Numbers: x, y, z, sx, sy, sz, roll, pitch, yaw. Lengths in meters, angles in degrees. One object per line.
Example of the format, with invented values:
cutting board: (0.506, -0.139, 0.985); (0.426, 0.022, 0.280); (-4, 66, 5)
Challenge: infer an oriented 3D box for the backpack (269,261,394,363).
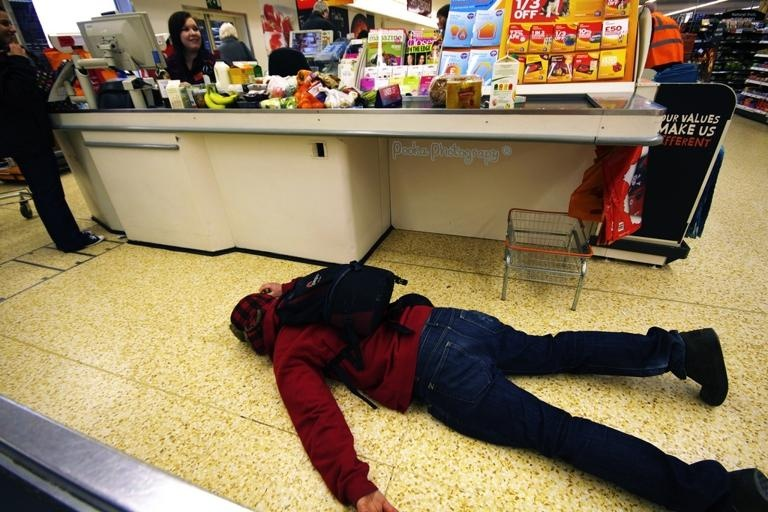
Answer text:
backpack: (-0.278, 0.215, 2.953); (0.780, 0.285, 0.706); (3, 29, 26)

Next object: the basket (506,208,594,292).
basket: (1.260, 0.016, 3.618); (0.660, 0.565, 0.744); (5, 48, 11)

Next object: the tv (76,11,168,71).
tv: (-2.254, -1.776, 3.877); (0.614, 0.428, 0.234); (1, 30, 10)

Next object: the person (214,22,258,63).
person: (-1.659, -2.358, 5.111); (0.353, 0.368, 1.046); (-8, 28, -14)

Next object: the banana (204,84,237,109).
banana: (-1.272, -1.234, 3.605); (0.317, 0.108, 0.189); (12, 32, 12)

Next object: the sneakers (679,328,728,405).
sneakers: (1.880, 0.637, 2.799); (0.231, 0.547, 0.188); (-15, 9, 7)

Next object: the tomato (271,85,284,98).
tomato: (-0.827, -1.261, 3.565); (0.137, 0.075, 0.043); (24, 37, 39)
